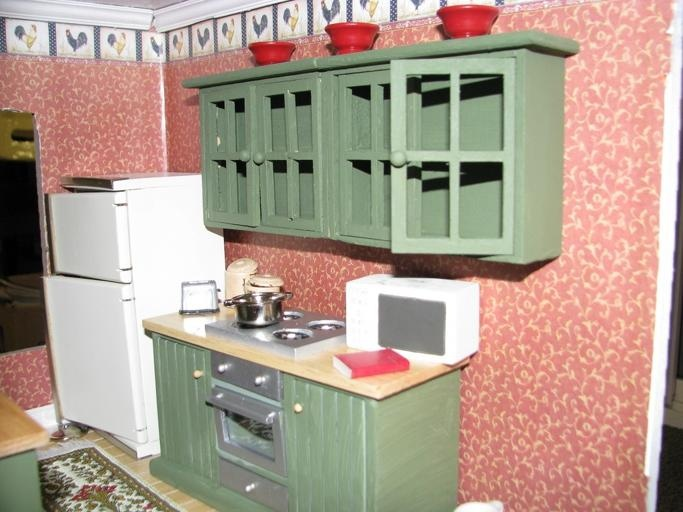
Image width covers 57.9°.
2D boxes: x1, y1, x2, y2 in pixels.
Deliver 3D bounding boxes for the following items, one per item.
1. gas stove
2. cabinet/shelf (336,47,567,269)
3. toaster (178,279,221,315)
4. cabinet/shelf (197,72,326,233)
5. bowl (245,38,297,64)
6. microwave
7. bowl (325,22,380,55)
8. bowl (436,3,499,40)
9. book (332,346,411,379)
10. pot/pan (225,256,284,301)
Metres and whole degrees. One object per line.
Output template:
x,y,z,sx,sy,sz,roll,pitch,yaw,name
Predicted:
-0.290,0.386,3.247,0.736,0.075,0.509,6,12,36,gas stove
0.383,-0.459,2.831,1.019,0.911,0.547,8,13,44,cabinet/shelf
-0.843,0.253,3.646,0.266,0.247,0.172,-1,3,-8,toaster
-0.410,-0.575,3.306,0.807,0.738,0.264,9,12,42,cabinet/shelf
-0.409,-1.118,3.355,0.186,0.082,0.190,-1,21,0,bowl
0.346,0.124,2.882,0.604,0.417,0.369,5,7,39,microwave
0.049,-1.076,3.100,0.285,0.154,0.280,0,14,0,bowl
0.535,-1.004,2.644,0.260,0.162,0.181,1,9,13,bowl
0.131,0.478,2.759,0.315,0.065,0.199,-4,10,-16,book
-0.511,0.119,3.684,0.297,0.262,0.221,2,8,35,pot/pan
